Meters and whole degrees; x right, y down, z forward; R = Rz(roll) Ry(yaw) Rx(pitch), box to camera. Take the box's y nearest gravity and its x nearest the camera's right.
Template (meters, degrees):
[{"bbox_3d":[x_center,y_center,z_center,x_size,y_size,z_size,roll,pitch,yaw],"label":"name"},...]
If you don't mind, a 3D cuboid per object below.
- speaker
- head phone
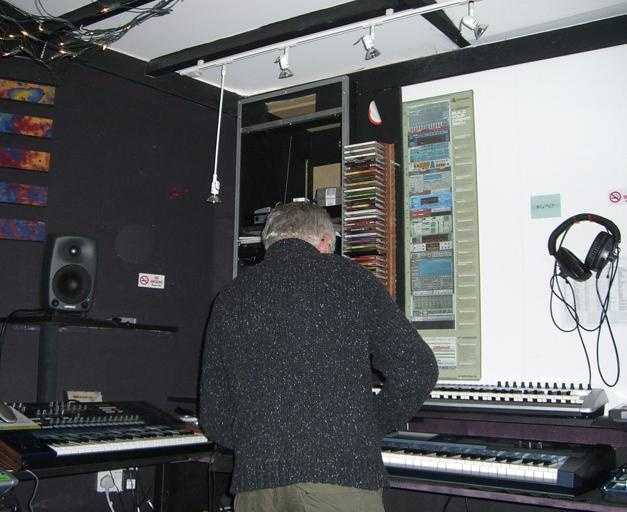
[{"bbox_3d":[-1.304,0.093,3.103,0.273,0.415,0.092,0,-5,-21],"label":"speaker"},{"bbox_3d":[1.426,-0.038,3.043,0.330,0.336,0.148,-15,-42,32],"label":"head phone"}]
